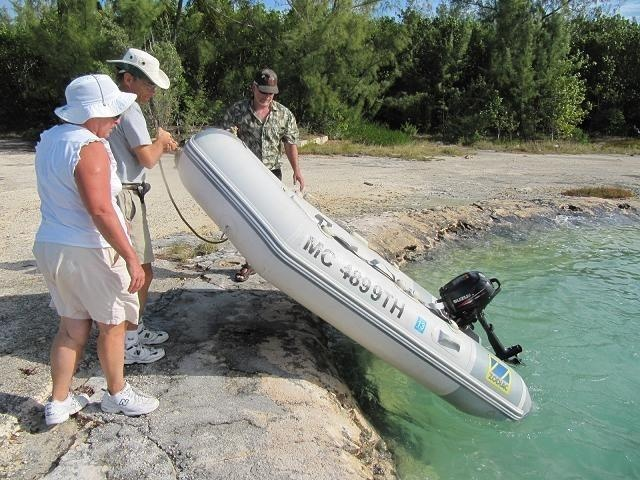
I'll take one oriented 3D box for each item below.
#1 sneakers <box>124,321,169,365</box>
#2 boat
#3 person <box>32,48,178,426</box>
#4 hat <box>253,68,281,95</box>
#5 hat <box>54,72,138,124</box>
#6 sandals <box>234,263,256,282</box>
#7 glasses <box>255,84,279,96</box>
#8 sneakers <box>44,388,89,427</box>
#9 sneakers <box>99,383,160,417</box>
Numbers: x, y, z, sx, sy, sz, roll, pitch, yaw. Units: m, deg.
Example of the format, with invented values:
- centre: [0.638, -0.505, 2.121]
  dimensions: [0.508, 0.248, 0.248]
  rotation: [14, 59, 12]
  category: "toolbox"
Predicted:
- centre: [-1.457, 0.849, 3.779]
  dimensions: [0.282, 0.177, 0.333]
  rotation: [2, 14, -18]
  category: "sneakers"
- centre: [0.327, 0.443, 3.909]
  dimensions: [3.610, 0.657, 1.886]
  rotation: [41, 0, -15]
  category: "boat"
- centre: [-1.513, 0.107, 2.993]
  dimensions: [0.726, 2.296, 0.611]
  rotation: [-2, 21, -20]
  category: "person"
- centre: [-0.595, -1.759, 4.995]
  dimensions: [0.224, 0.178, 0.305]
  rotation: [-11, 50, -28]
  category: "hat"
- centre: [-1.410, -0.856, 2.866]
  dimensions: [0.385, 0.172, 0.353]
  rotation: [-7, 38, -11]
  category: "hat"
- centre: [-0.920, 0.400, 5.504]
  dimensions: [0.143, 0.081, 0.255]
  rotation: [37, 19, -4]
  category: "sandals"
- centre: [-0.622, -1.694, 5.002]
  dimensions: [0.143, 0.073, 0.199]
  rotation: [-4, 39, -28]
  category: "glasses"
- centre: [-1.720, 1.125, 3.158]
  dimensions: [0.126, 0.172, 0.361]
  rotation: [16, 16, 18]
  category: "sneakers"
- centre: [-1.321, 1.145, 3.266]
  dimensions: [0.460, 0.224, 0.177]
  rotation: [8, 19, -17]
  category: "sneakers"
